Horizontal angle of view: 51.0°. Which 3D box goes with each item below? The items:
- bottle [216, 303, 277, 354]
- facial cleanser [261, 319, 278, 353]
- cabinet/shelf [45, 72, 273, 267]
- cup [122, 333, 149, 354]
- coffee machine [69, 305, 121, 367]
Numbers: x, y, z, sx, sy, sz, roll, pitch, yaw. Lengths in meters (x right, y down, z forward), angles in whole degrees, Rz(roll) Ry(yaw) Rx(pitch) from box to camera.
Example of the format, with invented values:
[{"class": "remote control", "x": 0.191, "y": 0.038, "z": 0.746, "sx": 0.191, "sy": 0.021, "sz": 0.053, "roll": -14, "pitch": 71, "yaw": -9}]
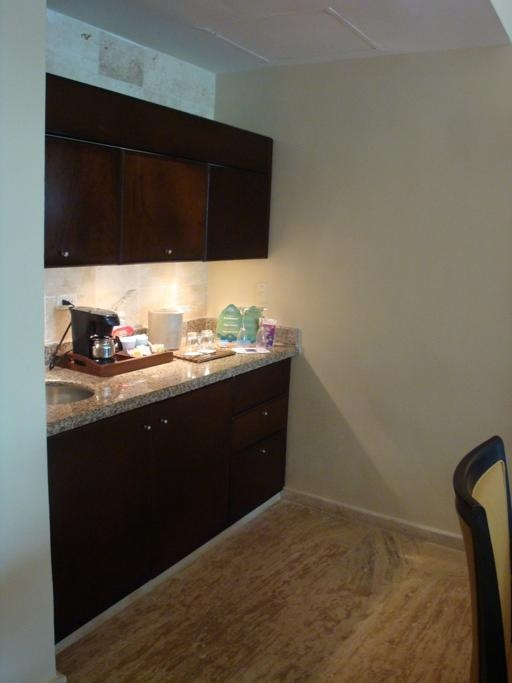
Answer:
[{"class": "bottle", "x": -0.060, "y": -0.074, "z": 2.956, "sx": 0.344, "sy": 0.245, "sz": 0.081, "roll": 9, "pitch": 6, "yaw": 12}, {"class": "facial cleanser", "x": 0.063, "y": -0.041, "z": 2.893, "sx": 0.076, "sy": 0.156, "sz": 0.077, "roll": 3, "pitch": 7, "yaw": 3}, {"class": "cabinet/shelf", "x": -0.372, "y": -0.702, "z": 2.461, "sx": 1.369, "sy": 0.659, "sz": 0.379, "roll": -7, "pitch": 26, "yaw": -41}, {"class": "cup", "x": -0.530, "y": 0.002, "z": 2.373, "sx": 0.093, "sy": 0.073, "sz": 0.086, "roll": -1, "pitch": 18, "yaw": 0}, {"class": "coffee machine", "x": -0.671, "y": -0.041, "z": 2.226, "sx": 0.205, "sy": 0.195, "sz": 0.114, "roll": 11, "pitch": 18, "yaw": 19}]
